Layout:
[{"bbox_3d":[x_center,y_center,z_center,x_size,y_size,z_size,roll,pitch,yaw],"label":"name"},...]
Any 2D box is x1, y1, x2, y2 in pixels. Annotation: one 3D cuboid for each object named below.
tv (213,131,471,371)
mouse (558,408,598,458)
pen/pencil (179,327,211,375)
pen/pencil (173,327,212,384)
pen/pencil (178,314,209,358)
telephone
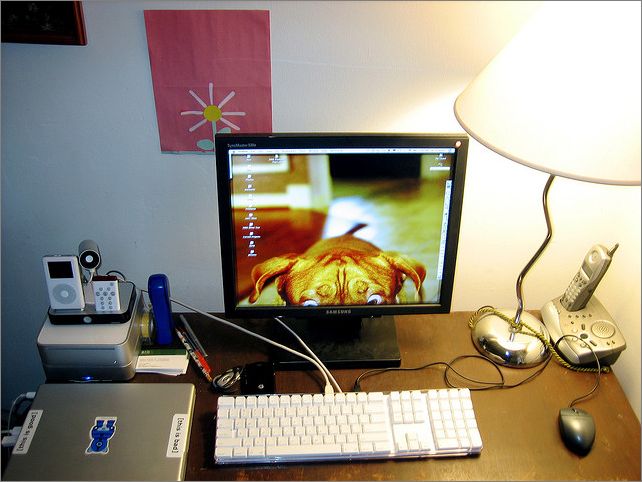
[{"bbox_3d":[0.042,0.019,1.253,0.483,0.523,0.263,1,25,-1],"label":"tv"},{"bbox_3d":[0.577,0.410,1.191,0.073,0.045,0.130,-3,22,17],"label":"mouse"},{"bbox_3d":[-0.322,0.282,1.336,0.020,0.011,0.124,16,29,-52],"label":"pen/pencil"},{"bbox_3d":[-0.326,0.290,1.326,0.027,0.016,0.157,21,21,-52],"label":"pen/pencil"},{"bbox_3d":[-0.335,0.250,1.378,0.016,0.015,0.141,-32,54,-17],"label":"pen/pencil"},{"bbox_3d":[0.697,0.165,1.381,0.098,0.234,0.213,6,39,-11],"label":"telephone"}]
